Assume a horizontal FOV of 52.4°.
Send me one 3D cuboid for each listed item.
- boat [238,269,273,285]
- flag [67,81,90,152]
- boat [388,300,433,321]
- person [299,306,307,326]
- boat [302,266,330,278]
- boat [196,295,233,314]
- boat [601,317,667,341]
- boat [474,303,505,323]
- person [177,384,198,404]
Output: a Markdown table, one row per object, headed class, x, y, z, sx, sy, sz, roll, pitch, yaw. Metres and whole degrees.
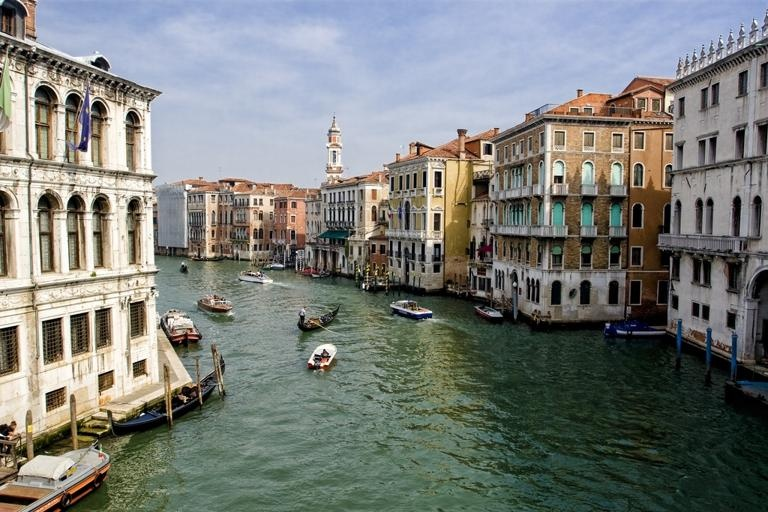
| class | x | y | z | sx | sy | sz | roll | pitch | yaw |
| --- | --- | --- | --- | --- | --- | --- | --- | --- | --- |
| boat | -17.391 | 2.999 | 105.932 | 2.092 | 1.671 | 6.858 | -6 | 11 | -35 |
| flag | -18.050 | -8.257 | 46.959 | 1.272 | 4.070 | 1.149 | 4 | 10 | 37 |
| boat | 2.645 | 5.499 | 77.010 | 1.608 | 1.612 | 4.741 | -6 | 11 | -31 |
| person | -7.352 | 5.550 | 70.459 | 0.542 | 1.320 | 0.999 | -3 | 7 | -6 |
| boat | -10.111 | 2.608 | 114.770 | 1.695 | 1.300 | 4.671 | -3 | 10 | -39 |
| boat | -17.288 | 5.045 | 80.261 | 1.831 | 1.575 | 5.545 | -4 | 5 | -32 |
| boat | 20.954 | 6.269 | 66.262 | 3.714 | 1.077 | 1.950 | 2 | 0 | 7 |
| boat | 10.122 | 5.524 | 74.116 | 1.575 | 0.973 | 3.836 | -4 | 7 | -16 |
| person | -12.887 | 9.230 | 51.653 | 1.033 | 0.671 | 0.974 | -2 | 11 | -8 |
